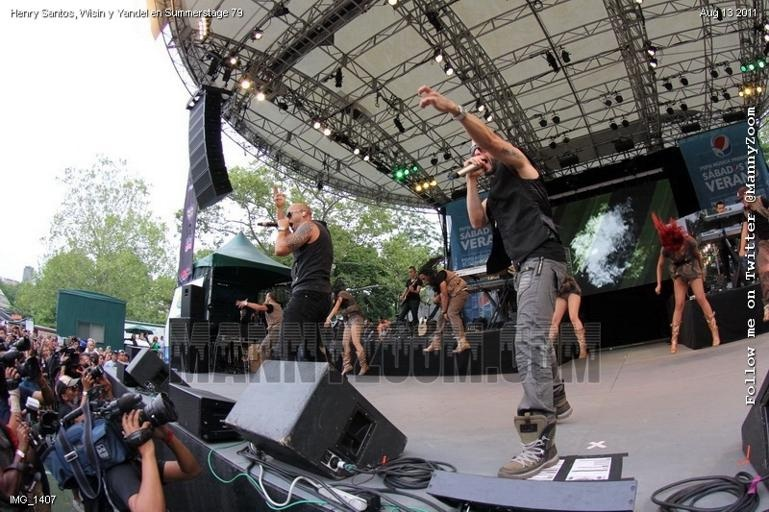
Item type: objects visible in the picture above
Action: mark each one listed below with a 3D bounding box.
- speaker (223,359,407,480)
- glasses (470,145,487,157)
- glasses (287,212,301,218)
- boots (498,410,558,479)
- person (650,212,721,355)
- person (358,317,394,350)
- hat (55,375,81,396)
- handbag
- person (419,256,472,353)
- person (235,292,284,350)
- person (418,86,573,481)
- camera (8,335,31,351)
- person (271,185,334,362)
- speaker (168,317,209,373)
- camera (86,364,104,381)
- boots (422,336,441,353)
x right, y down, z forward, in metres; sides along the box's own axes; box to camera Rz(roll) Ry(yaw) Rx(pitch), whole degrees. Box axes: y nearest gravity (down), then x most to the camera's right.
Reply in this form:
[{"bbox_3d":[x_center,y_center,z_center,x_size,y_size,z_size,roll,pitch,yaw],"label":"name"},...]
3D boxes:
[{"bbox_3d":[-0.528,1.124,3.435,0.966,0.711,1.056,-1,-8,-36],"label":"speaker"},{"bbox_3d":[0.652,-0.752,3.300,0.077,0.056,0.099,-2,-14,5],"label":"glasses"},{"bbox_3d":[-0.780,-0.351,4.161,0.074,0.023,0.071,-4,-2,26],"label":"glasses"},{"bbox_3d":[0.885,1.137,2.869,0.519,0.338,0.197,-1,-4,-41],"label":"boots"},{"bbox_3d":[4.525,0.307,7.160,0.714,2.232,1.536,-8,-13,30],"label":"person"},{"bbox_3d":[-0.135,1.404,8.507,0.614,0.316,0.848,1,-11,-15],"label":"person"},{"bbox_3d":[-2.658,1.061,3.955,0.206,0.112,0.127,-14,1,-15],"label":"hat"},{"bbox_3d":[-1.839,1.243,2.948,0.348,0.474,0.486,-10,-15,12],"label":"handbag"},{"bbox_3d":[1.240,0.960,9.321,1.089,0.743,2.006,-4,29,8],"label":"person"},{"bbox_3d":[-2.344,1.201,8.641,0.839,1.396,0.758,-8,-29,-4],"label":"person"},{"bbox_3d":[0.805,0.224,3.104,0.971,2.213,0.426,5,-13,-30],"label":"person"},{"bbox_3d":[-2.816,0.674,3.653,0.173,0.073,0.069,-16,26,32],"label":"camera"},{"bbox_3d":[-0.740,0.150,4.084,0.570,1.457,0.291,9,-15,-44],"label":"person"},{"bbox_3d":[-3.964,1.833,9.629,0.720,1.007,0.705,5,-11,-33],"label":"speaker"},{"bbox_3d":[-2.377,0.966,3.882,0.141,0.094,0.132,4,-6,-24],"label":"camera"},{"bbox_3d":[0.797,1.405,7.472,0.387,0.282,0.142,-13,-25,40],"label":"boots"}]
